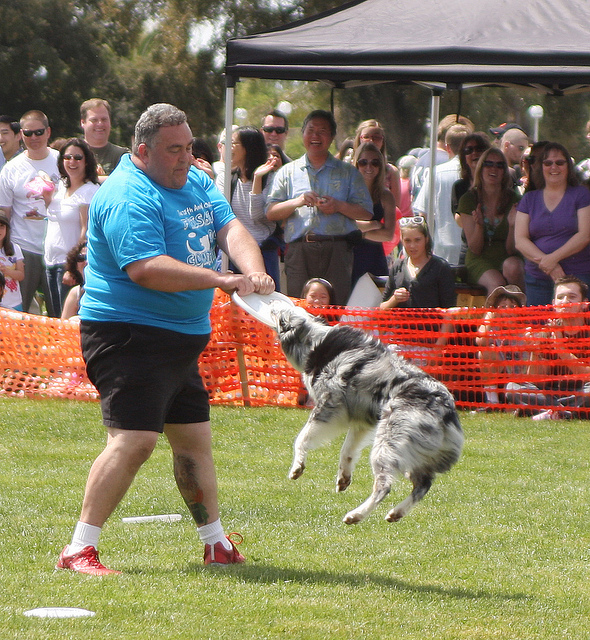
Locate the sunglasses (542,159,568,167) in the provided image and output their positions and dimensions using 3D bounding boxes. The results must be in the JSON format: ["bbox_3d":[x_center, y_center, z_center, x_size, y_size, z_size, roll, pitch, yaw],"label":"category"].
[{"bbox_3d":[2.157,-1.301,13.088,0.179,0.070,0.071,4,13,9],"label":"sunglasses"}]

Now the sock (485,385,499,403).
[{"bbox_3d":[1.571,0.587,12.535,0.105,0.112,0.119,-1,7,9],"label":"sock"}]

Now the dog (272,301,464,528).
[{"bbox_3d":[0.341,0.501,9.048,0.528,1.039,1.493,6,8,-45],"label":"dog"}]

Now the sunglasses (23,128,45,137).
[{"bbox_3d":[-2.356,-1.696,14.318,0.207,0.066,0.072,-9,17,-39],"label":"sunglasses"}]

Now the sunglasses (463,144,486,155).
[{"bbox_3d":[1.575,-1.514,14.030,0.218,0.108,0.100,10,16,33],"label":"sunglasses"}]

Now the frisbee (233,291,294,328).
[{"bbox_3d":[-0.180,-0.084,8.970,0.256,0.051,0.209,30,24,-23],"label":"frisbee"}]

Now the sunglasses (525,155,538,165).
[{"bbox_3d":[2.145,-1.450,14.251,0.034,0.085,0.083,-15,20,-39],"label":"sunglasses"}]

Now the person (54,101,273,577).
[{"bbox_3d":[-0.767,0.116,8.856,1.221,2.586,0.816,-3,14,-20],"label":"person"}]

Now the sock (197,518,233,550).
[{"bbox_3d":[-0.455,1.214,9.003,0.096,0.278,0.118,-13,35,8],"label":"sock"}]

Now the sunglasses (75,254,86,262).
[{"bbox_3d":[-1.804,-0.524,13.272,0.055,0.033,0.072,-5,51,-25],"label":"sunglasses"}]

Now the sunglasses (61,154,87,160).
[{"bbox_3d":[-1.870,-1.393,13.478,0.196,0.052,0.087,-1,13,-12],"label":"sunglasses"}]
